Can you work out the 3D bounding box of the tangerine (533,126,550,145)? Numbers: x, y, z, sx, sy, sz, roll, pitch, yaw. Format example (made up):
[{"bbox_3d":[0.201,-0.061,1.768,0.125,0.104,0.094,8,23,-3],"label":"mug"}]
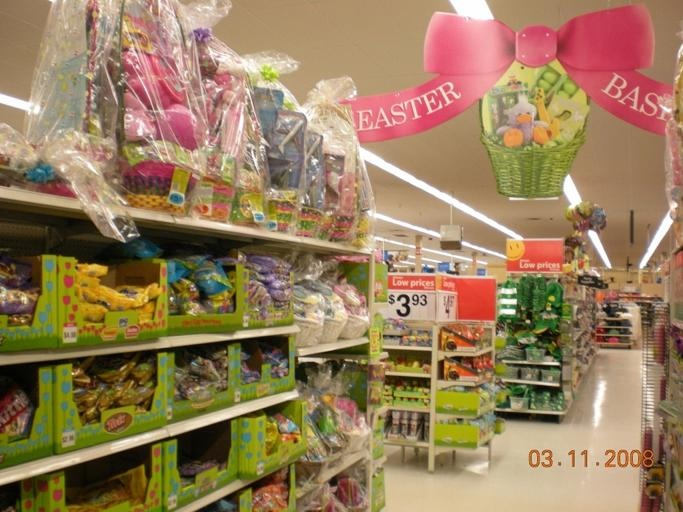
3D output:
[{"bbox_3d":[1.326,-0.791,3.283,0.113,0.115,0.034,1,-5,-2],"label":"tangerine"}]
